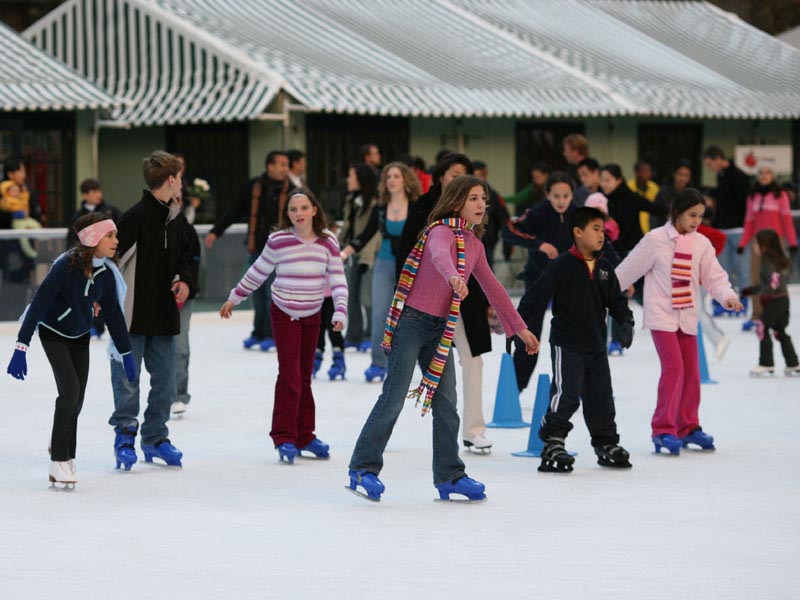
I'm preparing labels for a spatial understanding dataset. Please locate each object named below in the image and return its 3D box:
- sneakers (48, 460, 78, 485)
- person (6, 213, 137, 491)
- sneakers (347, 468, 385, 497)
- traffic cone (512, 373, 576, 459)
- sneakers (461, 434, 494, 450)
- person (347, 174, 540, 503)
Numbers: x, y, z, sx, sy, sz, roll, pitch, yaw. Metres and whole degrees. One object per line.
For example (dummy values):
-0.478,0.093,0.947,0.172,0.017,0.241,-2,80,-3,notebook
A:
-2.411,1.232,9.444,0.093,0.200,0.316,1,-7,-34,sneakers
-2.299,0.353,9.447,0.901,1.928,0.421,0,4,-23,person
-0.230,1.255,9.123,0.110,0.178,0.369,12,-3,-31,sneakers
1.063,0.889,10.452,0.521,0.705,0.571,1,0,-10,traffic cone
0.598,1.121,10.550,0.104,0.081,0.215,0,-6,-33,sneakers
0.256,0.258,9.132,1.198,2.228,0.673,1,3,-11,person
